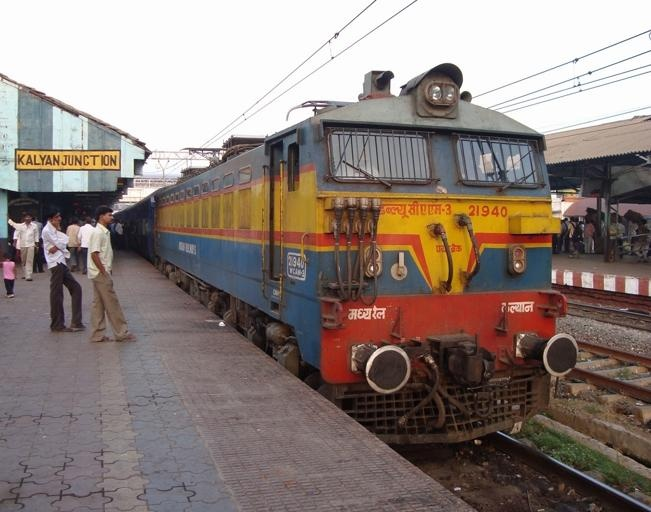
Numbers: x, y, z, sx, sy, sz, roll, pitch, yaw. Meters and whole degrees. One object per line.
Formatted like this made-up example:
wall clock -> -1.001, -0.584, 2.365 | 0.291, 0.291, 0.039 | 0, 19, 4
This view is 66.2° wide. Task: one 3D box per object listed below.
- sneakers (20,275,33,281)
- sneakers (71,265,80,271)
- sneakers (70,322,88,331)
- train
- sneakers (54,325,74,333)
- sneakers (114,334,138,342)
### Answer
sneakers -> -9.528, 0.696, 15.756 | 0.143, 0.208, 0.461 | -1, -4, -40
sneakers -> -9.031, 0.433, 17.859 | 0.173, 0.297, 0.286 | 1, -2, -20
sneakers -> -4.290, 1.218, 8.646 | 0.327, 0.155, 0.111 | -4, 7, -31
train -> 0.031, -0.176, 7.379 | 2.807, 4.470, 6.246 | -1, 4, -35
sneakers -> -4.524, 1.244, 8.543 | 0.296, 0.132, 0.111 | -3, 4, -15
sneakers -> -3.203, 1.304, 7.930 | 0.342, 0.156, 0.109 | -10, 9, -16
